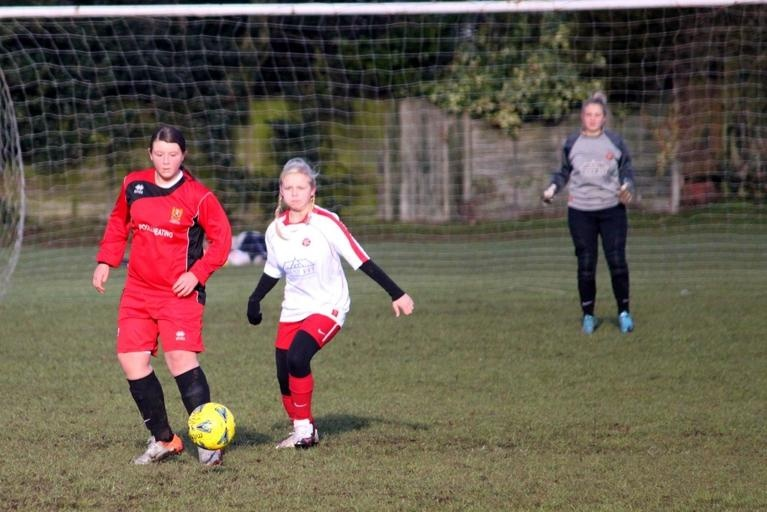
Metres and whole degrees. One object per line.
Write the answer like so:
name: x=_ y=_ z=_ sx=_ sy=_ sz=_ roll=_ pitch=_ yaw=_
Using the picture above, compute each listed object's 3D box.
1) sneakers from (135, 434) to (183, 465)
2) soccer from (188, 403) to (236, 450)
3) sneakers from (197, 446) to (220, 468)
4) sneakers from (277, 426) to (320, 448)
sneakers: x=-2.397 y=2.120 z=11.968 sx=0.589 sy=0.257 sz=0.204 roll=-19 pitch=7 yaw=-24
soccer: x=-1.777 y=1.886 z=11.882 sx=0.547 sy=0.527 sz=0.547 roll=1 pitch=9 yaw=3
sneakers: x=-1.862 y=2.171 z=11.737 sx=0.197 sy=0.198 sz=0.212 roll=1 pitch=-4 yaw=0
sneakers: x=-0.901 y=2.006 z=11.996 sx=0.577 sy=0.253 sz=0.186 roll=0 pitch=-2 yaw=-3
